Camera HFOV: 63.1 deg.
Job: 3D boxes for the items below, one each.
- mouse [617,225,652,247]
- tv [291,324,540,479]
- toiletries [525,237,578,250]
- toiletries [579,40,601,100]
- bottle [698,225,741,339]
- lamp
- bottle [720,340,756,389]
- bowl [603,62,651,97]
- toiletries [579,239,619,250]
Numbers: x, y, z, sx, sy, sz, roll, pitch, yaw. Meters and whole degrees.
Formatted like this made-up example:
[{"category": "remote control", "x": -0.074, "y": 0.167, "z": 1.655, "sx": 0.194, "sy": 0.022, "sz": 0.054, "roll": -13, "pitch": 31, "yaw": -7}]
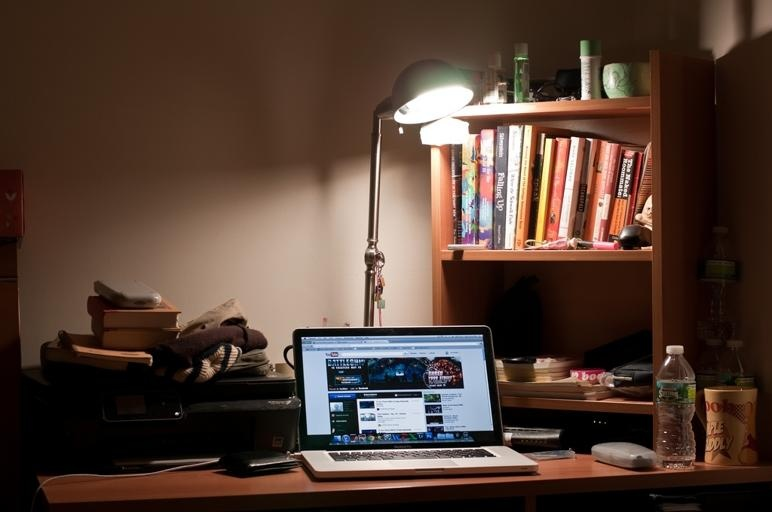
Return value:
[{"category": "mouse", "x": 0.748, "y": -0.057, "z": 1.884, "sx": 0.065, "sy": 0.065, "sz": 0.080, "roll": -4, "pitch": 19, "yaw": 16}, {"category": "tv", "x": 0.036, "y": 0.402, "z": 1.788, "sx": 0.576, "sy": 0.325, "sz": 0.407, "roll": 0, "pitch": -4, "yaw": -14}, {"category": "toiletries", "x": 0.519, "y": -0.038, "z": 1.971, "sx": 0.161, "sy": 0.036, "sz": 0.042, "roll": -2, "pitch": -4, "yaw": 9}, {"category": "toiletries", "x": 0.649, "y": -0.577, "z": 1.983, "sx": 0.066, "sy": 0.196, "sz": 0.067, "roll": 5, "pitch": 19, "yaw": 32}, {"category": "bottle", "x": 1.016, "y": 0.087, "z": 1.918, "sx": 0.118, "sy": 0.352, "sz": 0.086, "roll": 1, "pitch": -4, "yaw": -37}, {"category": "lamp", "x": 0.106, "y": -0.183, "z": 2.019, "sx": 0.376, "sy": 0.804, "sz": 0.444, "roll": -2, "pitch": -3, "yaw": 7}, {"category": "bottle", "x": 1.049, "y": 0.318, "z": 1.871, "sx": 0.099, "sy": 0.135, "sz": 0.066, "roll": 1, "pitch": -4, "yaw": -35}, {"category": "bowl", "x": 0.738, "y": -0.533, "z": 1.912, "sx": 0.116, "sy": 0.086, "sz": 0.117, "roll": -1, "pitch": 1, "yaw": 0}, {"category": "toiletries", "x": 0.654, "y": -0.034, "z": 1.927, "sx": 0.127, "sy": 0.043, "sz": 0.040, "roll": 0, "pitch": 18, "yaw": 24}]
